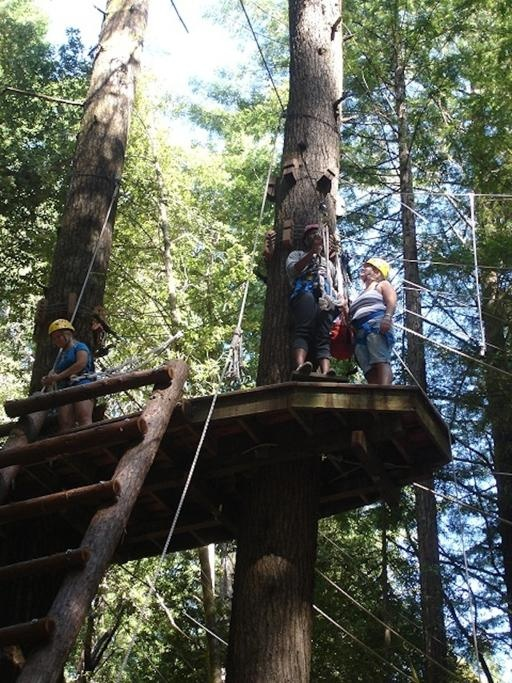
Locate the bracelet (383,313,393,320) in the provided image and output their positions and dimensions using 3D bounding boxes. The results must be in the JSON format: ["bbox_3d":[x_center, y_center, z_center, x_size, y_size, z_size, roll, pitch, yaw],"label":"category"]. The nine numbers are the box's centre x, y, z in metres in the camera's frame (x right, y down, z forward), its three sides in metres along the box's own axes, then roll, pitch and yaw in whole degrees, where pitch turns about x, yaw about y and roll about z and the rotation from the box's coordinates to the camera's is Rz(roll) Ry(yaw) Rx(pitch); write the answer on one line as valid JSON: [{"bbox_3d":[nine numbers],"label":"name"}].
[{"bbox_3d":[1.070,-0.200,5.769,0.060,0.048,0.044,0,-14,4],"label":"bracelet"}]

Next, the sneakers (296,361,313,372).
[{"bbox_3d":[0.361,0.192,5.368,0.112,0.103,0.136,5,-16,1],"label":"sneakers"}]

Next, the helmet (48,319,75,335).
[{"bbox_3d":[-1.797,-0.137,6.565,0.194,0.103,0.135,-8,-7,-39],"label":"helmet"}]

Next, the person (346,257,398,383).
[{"bbox_3d":[1.006,-0.212,6.059,0.377,1.375,0.776,6,-17,0],"label":"person"}]
